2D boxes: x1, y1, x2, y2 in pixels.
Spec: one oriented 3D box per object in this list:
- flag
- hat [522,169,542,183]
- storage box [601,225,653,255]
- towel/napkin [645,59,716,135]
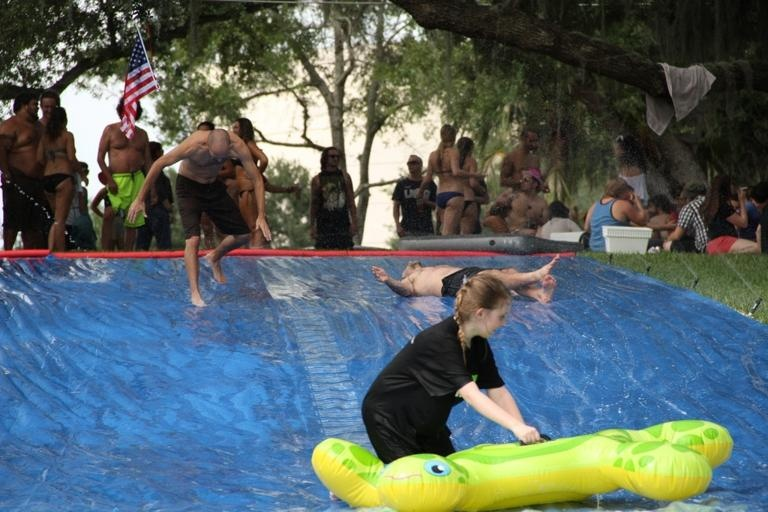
[{"bbox_3d":[-3.674,-2.584,16.964,0.535,1.736,1.350,-1,3,-14],"label":"flag"},{"bbox_3d":[2.338,-1.256,17.781,0.295,0.245,0.625,0,2,8],"label":"hat"},{"bbox_3d":[3.407,-0.217,15.821,0.539,0.288,0.388,0,1,-2],"label":"storage box"},{"bbox_3d":[4.588,-2.504,17.816,0.896,1.210,0.388,11,-2,-1],"label":"towel/napkin"}]
